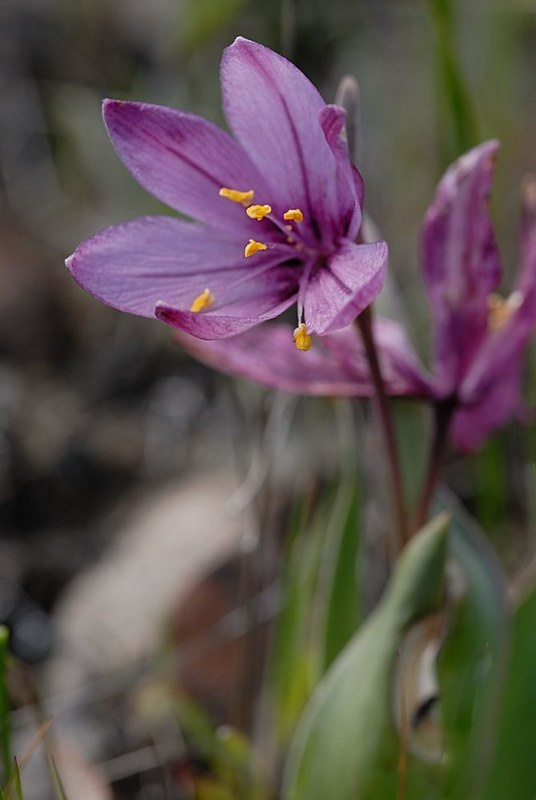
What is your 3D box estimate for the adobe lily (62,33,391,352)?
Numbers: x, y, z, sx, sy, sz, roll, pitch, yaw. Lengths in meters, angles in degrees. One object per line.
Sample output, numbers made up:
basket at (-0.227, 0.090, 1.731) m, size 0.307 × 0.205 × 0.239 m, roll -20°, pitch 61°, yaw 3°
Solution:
adobe lily at (-0.003, -0.066, 0.335) m, size 0.075 × 0.113 × 0.097 m, roll 18°, pitch -10°, yaw -42°
